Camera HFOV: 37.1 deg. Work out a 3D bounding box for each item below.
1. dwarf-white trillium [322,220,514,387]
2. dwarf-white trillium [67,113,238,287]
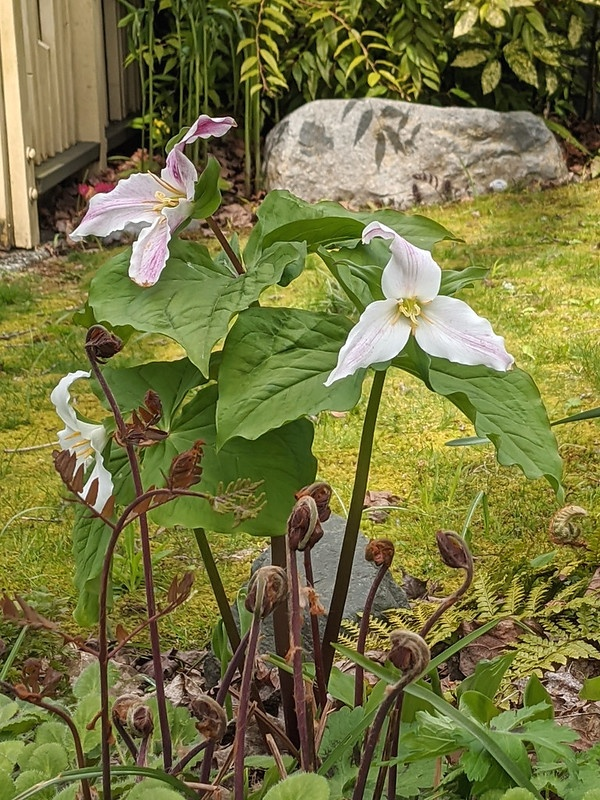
[{"bbox_3d":[0.124,-0.129,1.130,0.250,0.182,0.138,-7,20,-19],"label":"dwarf-white trillium"},{"bbox_3d":[-0.212,-0.295,1.323,0.257,0.244,0.176,-4,19,-12],"label":"dwarf-white trillium"}]
